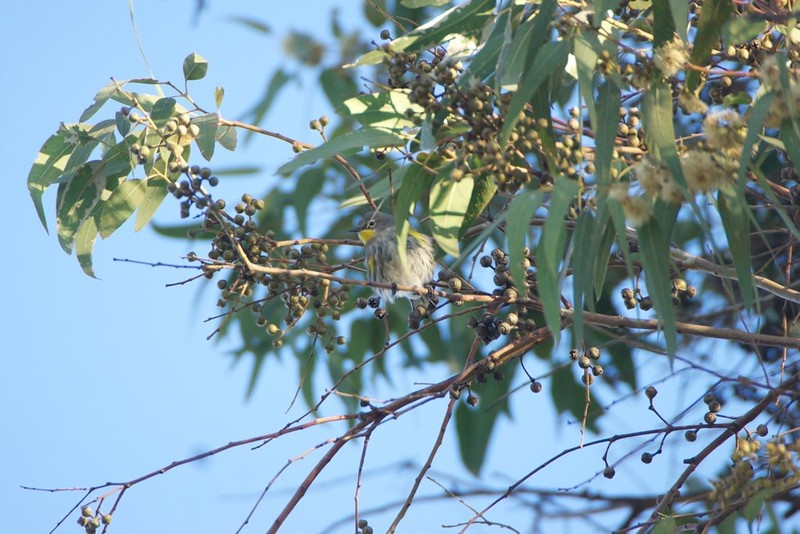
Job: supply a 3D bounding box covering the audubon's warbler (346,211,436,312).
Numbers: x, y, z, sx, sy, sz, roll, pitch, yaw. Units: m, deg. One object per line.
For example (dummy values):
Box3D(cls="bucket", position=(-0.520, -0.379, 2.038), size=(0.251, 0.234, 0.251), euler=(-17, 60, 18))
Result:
Box3D(cls="audubon's warbler", position=(-0.015, 0.002, 8.839), size=(0.596, 0.744, 0.486), euler=(9, -33, -19))
